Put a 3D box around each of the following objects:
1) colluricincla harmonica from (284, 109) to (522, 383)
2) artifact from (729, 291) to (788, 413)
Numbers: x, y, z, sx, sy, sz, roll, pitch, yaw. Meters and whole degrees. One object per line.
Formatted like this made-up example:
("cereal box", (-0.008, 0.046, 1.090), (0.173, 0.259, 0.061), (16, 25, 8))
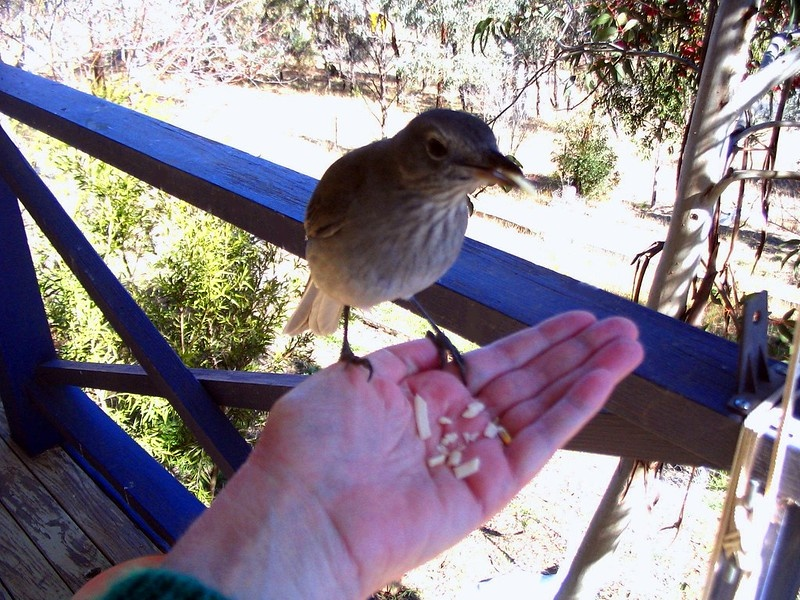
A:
("colluricincla harmonica", (-0.047, -0.235, 2.109), (0.493, 0.912, 0.991), (-12, 23, -36))
("artifact", (1.163, 0.164, 1.882), (0.059, 0.254, 0.262), (10, 36, 38))
